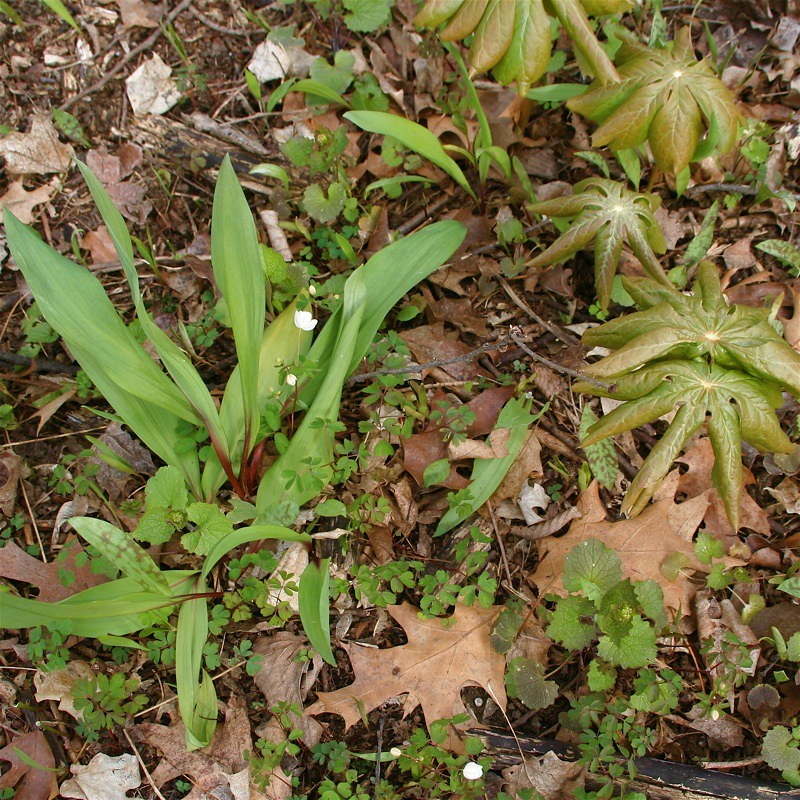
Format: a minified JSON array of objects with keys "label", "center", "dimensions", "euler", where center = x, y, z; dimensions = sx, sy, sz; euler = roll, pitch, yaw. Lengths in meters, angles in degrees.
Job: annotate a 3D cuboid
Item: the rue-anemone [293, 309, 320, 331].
[{"label":"rue-anemone","center":[-0.309,-0.263,2.282],"dimensions":[0.082,0.070,0.041],"euler":[15,78,41]}]
